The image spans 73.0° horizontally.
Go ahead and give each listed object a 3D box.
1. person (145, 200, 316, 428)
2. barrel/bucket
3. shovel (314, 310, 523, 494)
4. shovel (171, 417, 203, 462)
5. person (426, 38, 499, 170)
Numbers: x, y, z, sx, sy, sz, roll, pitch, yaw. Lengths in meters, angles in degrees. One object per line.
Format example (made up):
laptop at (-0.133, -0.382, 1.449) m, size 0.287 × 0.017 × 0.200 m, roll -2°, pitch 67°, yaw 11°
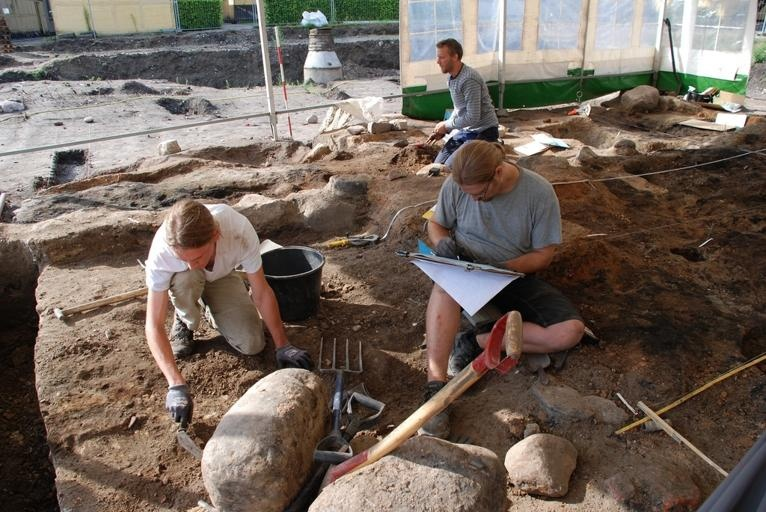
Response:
person at (-1.168, 0.238, 3.708) m, size 1.175 × 1.482 × 1.543 m, roll -17°, pitch 37°, yaw -26°
barrel/bucket at (-0.677, 0.191, 4.244) m, size 0.639 × 0.415 × 0.587 m, roll -1°, pitch 25°, yaw 1°
shovel at (0.201, 0.754, 2.674) m, size 1.040 × 0.905 × 0.223 m, roll -4°, pitch 23°, yaw -7°
shovel at (-1.244, 1.170, 3.287) m, size 0.114 × 0.345 × 0.030 m, roll -17°, pitch 33°, yaw 25°
person at (0.965, -1.690, 6.338) m, size 1.095 × 1.721 × 0.778 m, roll -17°, pitch 25°, yaw -16°
